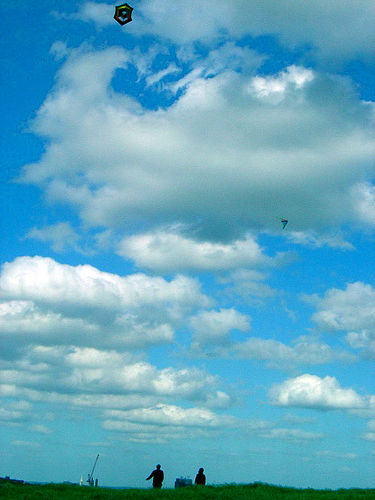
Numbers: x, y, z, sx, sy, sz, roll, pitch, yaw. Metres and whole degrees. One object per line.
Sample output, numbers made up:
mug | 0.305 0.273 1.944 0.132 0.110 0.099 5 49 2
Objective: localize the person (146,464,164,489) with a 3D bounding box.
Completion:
person | -2.371 16.052 67.629 0.756 1.544 0.665 0 -11 3
